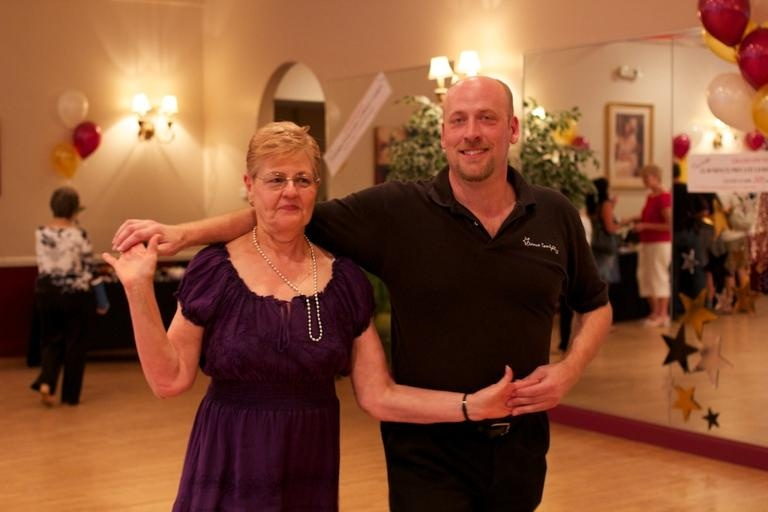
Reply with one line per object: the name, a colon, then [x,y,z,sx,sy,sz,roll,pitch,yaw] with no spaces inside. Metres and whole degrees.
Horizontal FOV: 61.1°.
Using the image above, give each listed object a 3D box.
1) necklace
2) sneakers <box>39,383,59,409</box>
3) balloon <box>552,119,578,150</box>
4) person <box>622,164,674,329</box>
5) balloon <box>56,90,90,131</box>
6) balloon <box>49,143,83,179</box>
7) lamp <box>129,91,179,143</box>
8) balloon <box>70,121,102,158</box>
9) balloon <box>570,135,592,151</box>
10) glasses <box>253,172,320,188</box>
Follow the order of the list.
necklace: [-0.324,0.106,2.420,0.173,0.536,0.025,-10,-21,-23]
sneakers: [-1.885,0.795,3.662,0.070,0.092,0.210,-13,-27,-8]
balloon: [1.454,-0.983,5.192,0.182,0.224,0.184,0,5,6]
person: [2.002,-0.081,4.836,0.177,1.155,0.467,-3,13,-16]
balloon: [-1.490,-0.704,3.178,0.168,0.205,0.114,3,2,12]
balloon: [-1.553,-0.464,3.154,0.205,0.169,0.067,9,15,33]
lamp: [-1.133,-0.675,3.238,0.226,0.221,0.083,-2,3,-24]
balloon: [-1.410,-0.553,3.126,0.134,0.170,0.099,16,18,13]
balloon: [1.559,-0.887,5.138,0.099,0.116,0.038,7,3,33]
glasses: [-0.341,-0.270,2.319,0.220,0.053,0.057,0,12,-6]
